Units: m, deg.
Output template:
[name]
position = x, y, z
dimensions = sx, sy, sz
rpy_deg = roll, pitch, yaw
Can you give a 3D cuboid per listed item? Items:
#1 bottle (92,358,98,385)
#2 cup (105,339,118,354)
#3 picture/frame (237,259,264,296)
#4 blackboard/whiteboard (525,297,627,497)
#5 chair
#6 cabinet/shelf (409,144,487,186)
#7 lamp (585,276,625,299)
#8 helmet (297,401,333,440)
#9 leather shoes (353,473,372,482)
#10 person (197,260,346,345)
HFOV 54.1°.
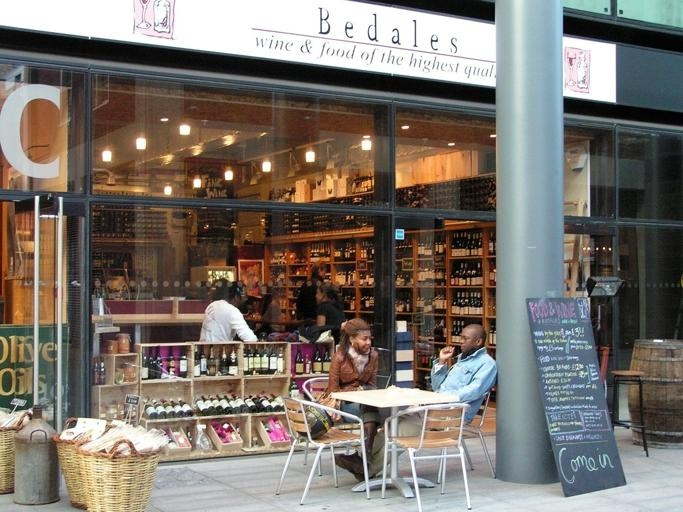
[bottle]
position = -2.536, 1.191, 6.904
dimensions = 0.014, 0.268, 0.073
rpy_deg = 2, 3, 41
[cup]
position = -2.417, 0.955, 7.048
dimensions = 0.141, 0.139, 0.135
rpy_deg = 1, -5, 0
[picture/frame]
position = -1.136, 0.260, 8.268
dimensions = 0.046, 0.369, 0.440
rpy_deg = -6, 4, 35
[blackboard/whiteboard]
position = 2.257, 1.295, 6.443
dimensions = 0.891, 1.758, 0.633
rpy_deg = -1, 3, -28
[chair]
position = 0.129, 1.665, 6.305
dimensions = 1.262, 0.720, 1.244
rpy_deg = -1, -1, -7
[cabinet/shelf]
position = 1.287, -1.115, 8.445
dimensions = 1.251, 0.496, 0.198
rpy_deg = -1, 3, -31
[lamp]
position = 3.311, 0.390, 8.396
dimensions = 0.284, 0.239, 0.541
rpy_deg = 2, 3, 45
[helmet]
position = -0.229, 1.472, 5.930
dimensions = 0.264, 0.290, 0.280
rpy_deg = 0, -11, 0
[leather shoes]
position = 0.196, 2.100, 6.400
dimensions = 0.123, 0.103, 0.096
rpy_deg = -1, -2, -23
[person]
position = -1.031, 0.628, 8.105
dimensions = 1.246, 0.703, 0.892
rpy_deg = 2, -7, -21
